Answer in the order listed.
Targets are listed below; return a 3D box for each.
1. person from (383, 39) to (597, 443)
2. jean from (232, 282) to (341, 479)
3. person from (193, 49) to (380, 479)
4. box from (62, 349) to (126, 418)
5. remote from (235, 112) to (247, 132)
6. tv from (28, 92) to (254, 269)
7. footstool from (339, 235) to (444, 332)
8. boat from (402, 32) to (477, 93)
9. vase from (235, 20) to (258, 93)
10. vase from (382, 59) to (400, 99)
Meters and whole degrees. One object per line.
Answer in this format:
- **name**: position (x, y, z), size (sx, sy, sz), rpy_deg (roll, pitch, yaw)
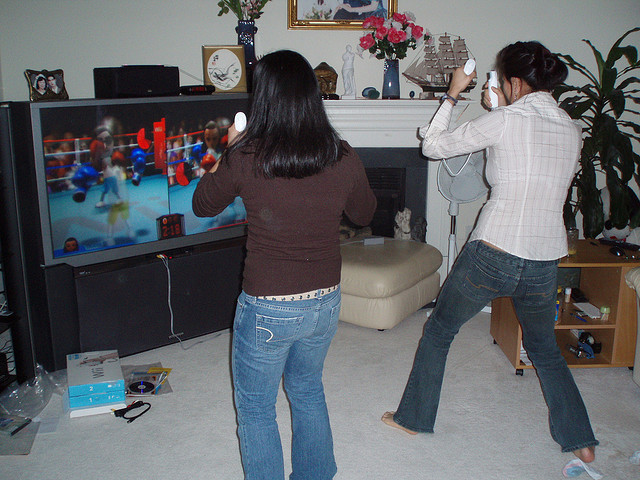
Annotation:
- **person**: position (0.815, 0.092, 2.197), size (0.872, 1.829, 0.340), rpy_deg (2, 18, 14)
- **jean**: position (-0.109, 0.592, 1.855), size (0.412, 0.890, 0.179), rpy_deg (-7, 18, -14)
- **person**: position (-0.093, 0.185, 1.810), size (0.611, 1.663, 0.288), rpy_deg (-9, 18, -19)
- **box**: position (-1.265, 0.795, 2.750), size (0.296, 0.161, 0.411), rpy_deg (1, 17, -28)
- **remote**: position (-0.284, -0.434, 1.789), size (0.048, 0.079, 0.019), rpy_deg (1, 13, -3)
- **tv**: position (-1.086, -0.366, 2.796), size (0.988, 0.701, 0.102), rpy_deg (-13, 17, -40)
- **footstool**: position (0.489, 0.272, 3.822), size (0.749, 0.463, 0.975), rpy_deg (8, 16, 36)
- **boat**: position (0.922, -1.385, 3.775), size (0.531, 0.465, 0.232), rpy_deg (4, 18, 17)
- **vase**: position (-0.509, -1.336, 3.531), size (0.147, 0.495, 0.284), rpy_deg (-5, 18, -8)
- **vase**: position (0.554, -1.242, 3.763), size (0.149, 0.289, 0.164), rpy_deg (-5, 18, -7)
